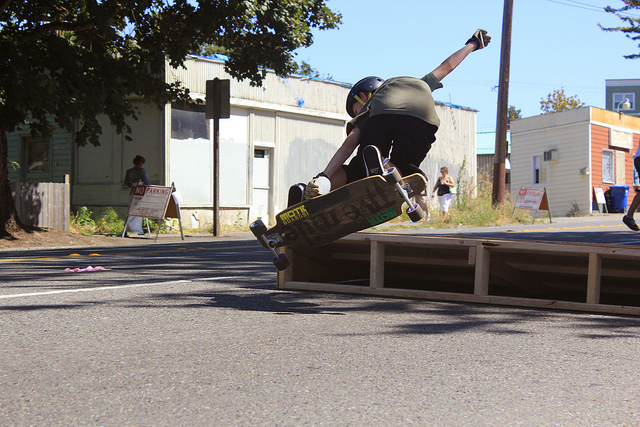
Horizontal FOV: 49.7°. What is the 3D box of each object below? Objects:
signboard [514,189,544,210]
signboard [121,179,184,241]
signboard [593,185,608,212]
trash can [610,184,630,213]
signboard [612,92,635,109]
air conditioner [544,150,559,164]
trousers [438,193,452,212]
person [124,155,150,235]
[{"bbox_3d":[6.185,-0.409,20.348,0.231,0.490,0.647,11,8,-45],"label":"signboard"},{"bbox_3d":[-3.588,-0.099,15.005,1.213,1.100,0.662,5,5,37],"label":"signboard"},{"bbox_3d":[11.404,-0.637,28.198,0.318,1.065,0.625,5,8,38],"label":"signboard"},{"bbox_3d":[12.281,-0.608,28.402,0.797,1.147,0.823,2,1,25],"label":"trash can"},{"bbox_3d":[28.856,-10.793,65.628,1.939,1.588,0.642,3,7,27],"label":"signboard"},{"bbox_3d":[9.740,-2.414,29.186,0.569,0.402,0.756,3,-6,-6],"label":"air conditioner"},{"bbox_3d":[3.387,-0.323,18.851,0.305,0.517,0.397,1,7,9],"label":"trousers"},{"bbox_3d":[-4.058,-0.395,15.281,0.492,1.775,0.727,-2,7,-15],"label":"person"}]
